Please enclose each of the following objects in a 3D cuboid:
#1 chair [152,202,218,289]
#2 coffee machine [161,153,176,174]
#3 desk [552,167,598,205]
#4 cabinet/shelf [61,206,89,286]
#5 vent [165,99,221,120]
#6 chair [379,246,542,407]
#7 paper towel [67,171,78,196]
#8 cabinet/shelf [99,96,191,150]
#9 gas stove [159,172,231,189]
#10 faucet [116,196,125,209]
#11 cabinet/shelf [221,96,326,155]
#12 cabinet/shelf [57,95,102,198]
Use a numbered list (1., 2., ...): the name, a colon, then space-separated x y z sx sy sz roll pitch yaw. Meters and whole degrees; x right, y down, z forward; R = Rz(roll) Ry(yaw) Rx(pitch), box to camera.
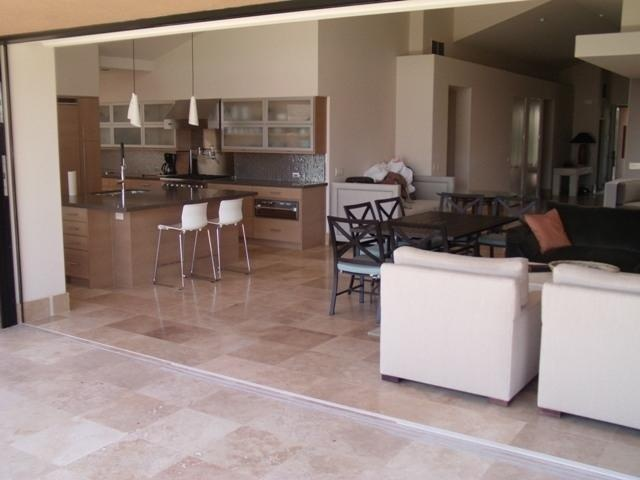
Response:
1. chair: -1.718 0.011 6.783 0.676 1.069 0.977 6 14 27
2. coffee machine: -3.206 -1.608 10.580 0.370 0.429 0.180 8 15 33
3. desk: 7.739 -1.803 15.434 1.102 0.837 2.582 6 13 27
4. cabinet/shelf: -3.159 0.075 6.533 0.526 0.996 0.143 7 15 29
5. vent: -2.473 -2.509 9.657 1.162 0.398 0.303 7 15 31
6. chair: 1.117 0.489 4.159 1.208 1.126 1.146 4 11 32
7. paper towel: -3.474 -0.783 7.029 0.101 0.320 0.146 -7 15 -27
8. cabinet/shelf: -3.942 -2.415 10.780 2.454 1.042 0.329 7 12 29
9. gas stove: -2.410 -1.185 9.966 1.366 0.173 0.913 8 14 34
10. faucet: -2.534 -0.517 6.396 0.094 0.140 0.813 -5 13 -20
11. cabinet/shelf: -0.838 -2.109 9.253 2.146 0.972 0.528 8 14 31
12. cabinet/shelf: -4.352 -1.679 9.007 0.384 1.596 0.746 19 24 36
